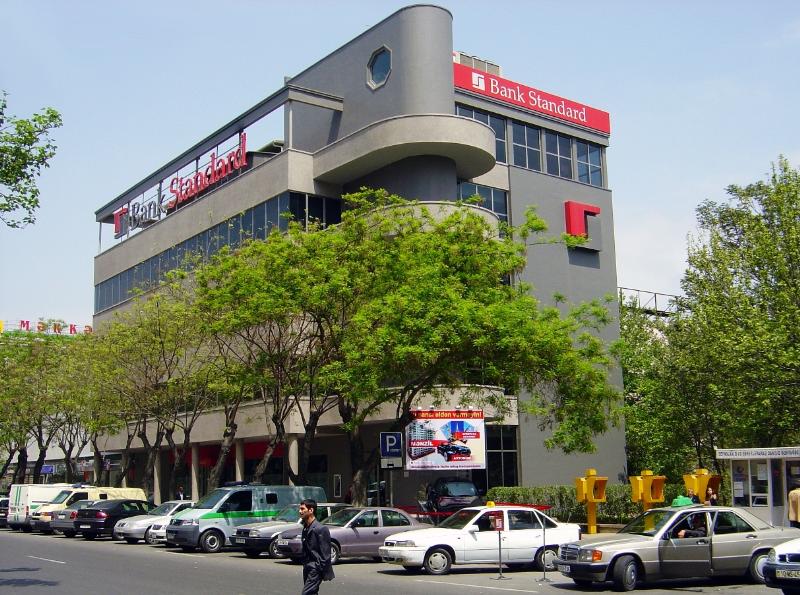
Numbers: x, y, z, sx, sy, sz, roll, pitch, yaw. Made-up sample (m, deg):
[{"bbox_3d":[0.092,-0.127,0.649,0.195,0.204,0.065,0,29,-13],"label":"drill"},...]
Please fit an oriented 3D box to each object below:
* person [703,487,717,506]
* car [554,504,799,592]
[{"bbox_3d":[12.477,7.838,34.788,0.406,0.866,3.106,-4,-17,20],"label":"person"},{"bbox_3d":[7.100,6.426,22.506,5.625,2.143,0.925,5,-15,-11],"label":"car"}]
